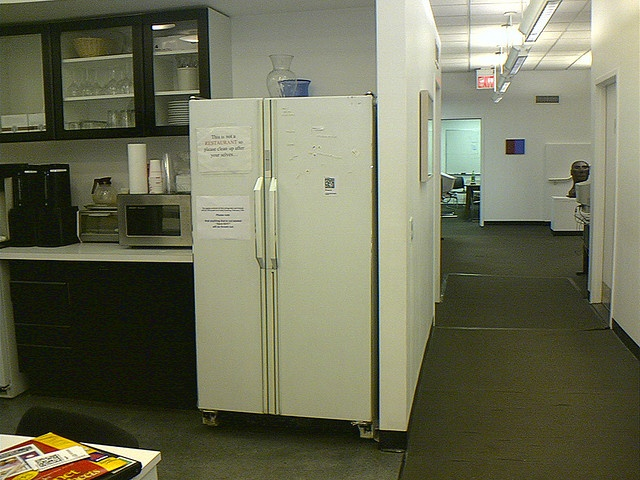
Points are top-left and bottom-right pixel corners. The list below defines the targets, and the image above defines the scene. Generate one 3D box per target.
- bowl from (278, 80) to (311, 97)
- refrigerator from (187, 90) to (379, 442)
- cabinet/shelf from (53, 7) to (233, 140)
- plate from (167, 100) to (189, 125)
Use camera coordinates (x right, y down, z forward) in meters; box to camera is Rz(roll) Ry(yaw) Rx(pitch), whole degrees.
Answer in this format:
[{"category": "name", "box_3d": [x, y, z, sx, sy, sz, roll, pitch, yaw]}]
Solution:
[{"category": "bowl", "box_3d": [-0.178, -1.153, 4.225, 0.209, 0.097, 0.187, 7, 13, 37]}, {"category": "refrigerator", "box_3d": [-0.249, 0.190, 3.610, 1.229, 2.219, 0.445, -1, 15, 11]}, {"category": "cabinet/shelf", "box_3d": [-1.370, -1.352, 4.368, 1.963, 0.827, 0.461, 0, 2, 11]}, {"category": "plate", "box_3d": [-1.134, -1.014, 4.396, 0.182, 0.207, 0.090, -1, 14, 7]}]
